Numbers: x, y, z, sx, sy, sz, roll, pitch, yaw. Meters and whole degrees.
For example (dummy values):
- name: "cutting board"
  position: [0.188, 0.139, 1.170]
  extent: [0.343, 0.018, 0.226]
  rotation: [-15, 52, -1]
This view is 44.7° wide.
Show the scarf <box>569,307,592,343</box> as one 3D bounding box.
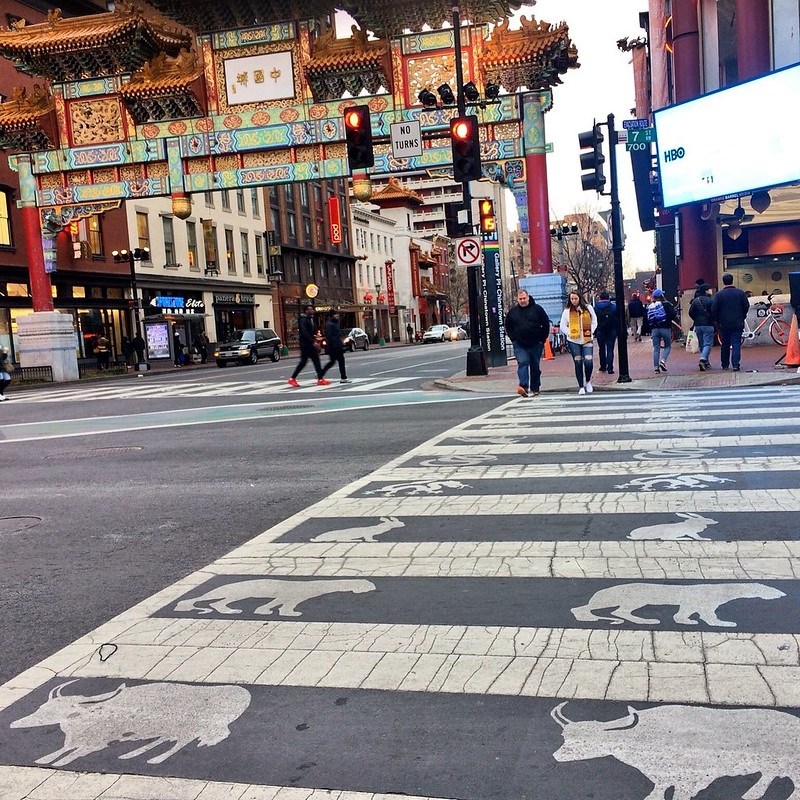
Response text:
- name: "scarf"
  position: [2.885, -1.173, 15.529]
  extent: [0.314, 0.595, 0.142]
  rotation: [1, -25, 6]

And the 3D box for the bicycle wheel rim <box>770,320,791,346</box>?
- name: "bicycle wheel rim"
  position: [9.258, -1.574, 23.597]
  extent: [0.376, 0.701, 1.676]
  rotation: [-2, 9, 22]

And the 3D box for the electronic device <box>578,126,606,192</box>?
- name: "electronic device"
  position: [3.426, -4.248, 17.268]
  extent: [0.495, 1.323, 0.319]
  rotation: [-14, 26, -10]

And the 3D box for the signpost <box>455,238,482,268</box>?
- name: "signpost"
  position: [1.449, -3.103, 20.604]
  extent: [0.514, 0.648, 0.844]
  rotation: [-5, 9, 3]

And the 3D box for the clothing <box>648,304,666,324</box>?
- name: "clothing"
  position: [4.809, -1.587, 18.086]
  extent: [0.274, 0.407, 0.218]
  rotation: [-9, 5, 30]

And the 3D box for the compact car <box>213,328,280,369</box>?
- name: "compact car"
  position: [-6.661, -2.248, 42.626]
  extent: [1.436, 1.298, 3.053]
  rotation: [-2, 0, 18]

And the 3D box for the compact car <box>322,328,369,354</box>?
- name: "compact car"
  position: [-2.736, -3.458, 57.203]
  extent: [1.329, 1.150, 3.070]
  rotation: [-2, -1, 9]

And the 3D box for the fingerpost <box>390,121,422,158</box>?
- name: "fingerpost"
  position: [0.148, -5.914, 22.028]
  extent: [0.635, 0.816, 0.789]
  rotation: [-6, 9, -2]

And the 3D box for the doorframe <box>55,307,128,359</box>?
- name: "doorframe"
  position: [-13.429, -2.980, 43.852]
  extent: [0.197, 2.423, 5.163]
  rotation: [-2, 2, 24]

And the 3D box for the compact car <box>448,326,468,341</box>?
- name: "compact car"
  position: [4.278, -4.940, 73.844]
  extent: [0.876, 0.673, 1.949]
  rotation: [2, 11, 19]
